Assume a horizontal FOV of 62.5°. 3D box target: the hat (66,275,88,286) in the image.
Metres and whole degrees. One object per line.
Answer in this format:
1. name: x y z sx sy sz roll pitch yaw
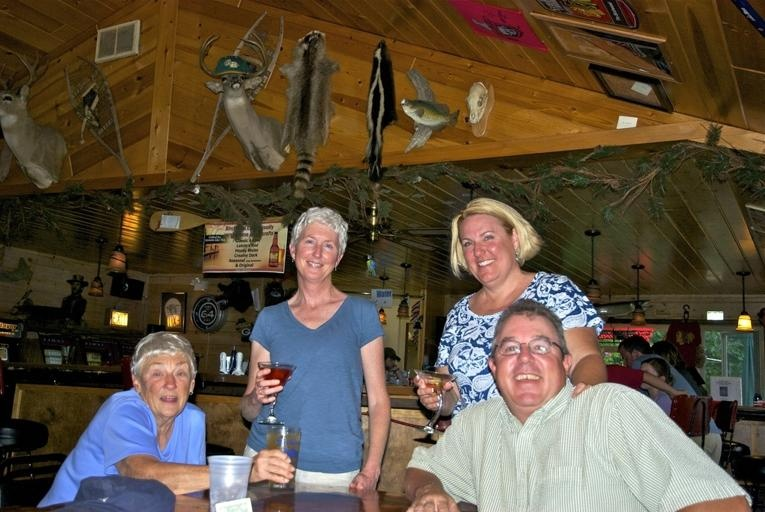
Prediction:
1. hat: -6.035 0.502 12.592 0.359 0.121 0.359 4 -9 -12

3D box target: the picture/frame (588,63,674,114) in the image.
1. picture/frame: 2.266 -1.525 5.687 0.720 0.066 0.607 17 -10 20

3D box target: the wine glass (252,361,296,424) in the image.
1. wine glass: -0.593 0.760 3.444 0.246 0.302 0.240 4 -19 -11

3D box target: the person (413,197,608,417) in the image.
1. person: 0.678 0.337 3.524 1.068 1.293 0.853 -13 -10 36

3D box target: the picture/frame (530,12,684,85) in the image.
1. picture/frame: 1.908 -1.759 5.268 1.596 0.114 1.395 11 -3 26

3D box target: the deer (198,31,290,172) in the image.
1. deer: -1.537 -1.720 7.198 0.579 1.586 1.351 4 -9 -1
